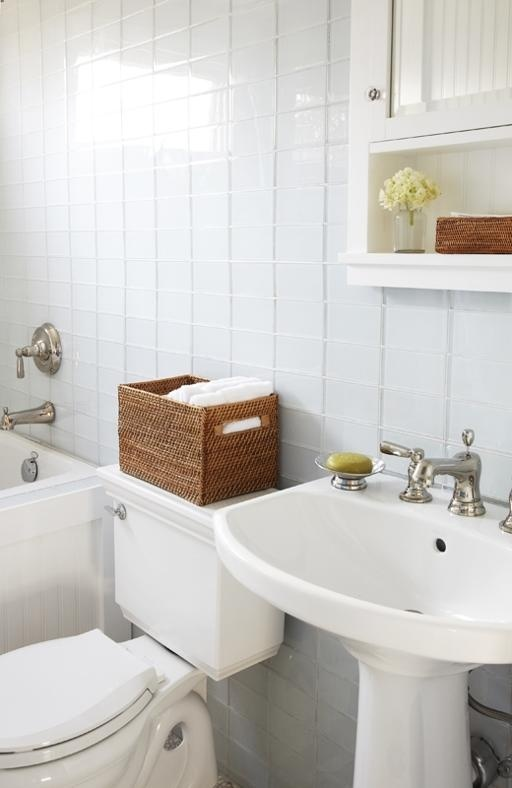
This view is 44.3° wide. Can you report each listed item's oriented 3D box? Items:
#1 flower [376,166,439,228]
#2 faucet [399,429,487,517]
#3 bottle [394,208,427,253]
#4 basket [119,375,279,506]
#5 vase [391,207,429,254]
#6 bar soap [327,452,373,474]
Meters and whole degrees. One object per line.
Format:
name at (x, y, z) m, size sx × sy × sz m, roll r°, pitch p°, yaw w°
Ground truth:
flower at (0.246, -0.323, 1.032) m, size 0.062 × 0.085 × 0.088 m, roll -3°, pitch 5°, yaw -34°
faucet at (0.317, 0.120, 1.075) m, size 0.177 × 0.190 × 0.082 m, roll -2°, pitch 6°, yaw -22°
bottle at (0.253, -0.268, 1.041) m, size 0.060 × 0.077 × 0.065 m, roll 0°, pitch 6°, yaw 0°
basket at (-0.142, 0.014, 1.405) m, size 0.243 × 0.230 × 0.351 m, roll -4°, pitch 9°, yaw -39°
vase at (0.252, -0.268, 1.039) m, size 0.063 × 0.082 × 0.069 m, roll 0°, pitch 7°, yaw 1°
bar soap at (0.170, 0.124, 1.144) m, size 0.084 × 0.030 × 0.048 m, roll 1°, pitch 5°, yaw 10°
